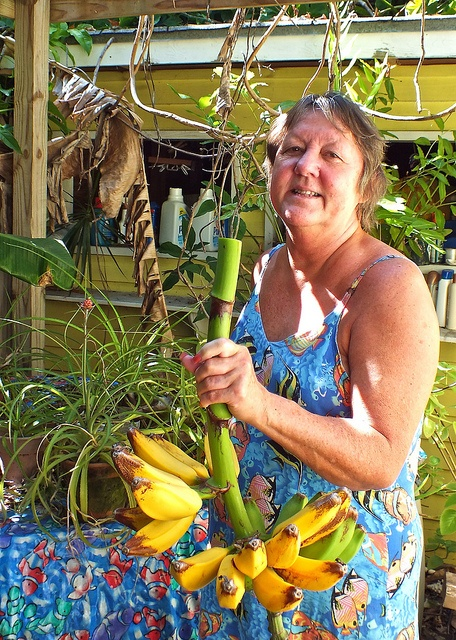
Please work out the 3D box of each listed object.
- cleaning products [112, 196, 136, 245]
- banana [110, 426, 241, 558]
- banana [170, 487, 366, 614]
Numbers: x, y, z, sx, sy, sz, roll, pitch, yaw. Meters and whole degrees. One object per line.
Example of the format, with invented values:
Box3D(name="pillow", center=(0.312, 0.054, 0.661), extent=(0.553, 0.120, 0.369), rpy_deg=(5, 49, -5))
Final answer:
Box3D(name="cleaning products", center=(-0.727, -0.682, 3.876), extent=(0.115, 0.345, 0.109), rpy_deg=(0, 24, -32))
Box3D(name="banana", center=(-0.075, 0.196, 0.664), extent=(0.133, 0.143, 0.200), rpy_deg=(5, 4, -11))
Box3D(name="banana", center=(0.030, 0.292, 0.666), extent=(0.224, 0.078, 0.187), rpy_deg=(-5, -12, 36))
